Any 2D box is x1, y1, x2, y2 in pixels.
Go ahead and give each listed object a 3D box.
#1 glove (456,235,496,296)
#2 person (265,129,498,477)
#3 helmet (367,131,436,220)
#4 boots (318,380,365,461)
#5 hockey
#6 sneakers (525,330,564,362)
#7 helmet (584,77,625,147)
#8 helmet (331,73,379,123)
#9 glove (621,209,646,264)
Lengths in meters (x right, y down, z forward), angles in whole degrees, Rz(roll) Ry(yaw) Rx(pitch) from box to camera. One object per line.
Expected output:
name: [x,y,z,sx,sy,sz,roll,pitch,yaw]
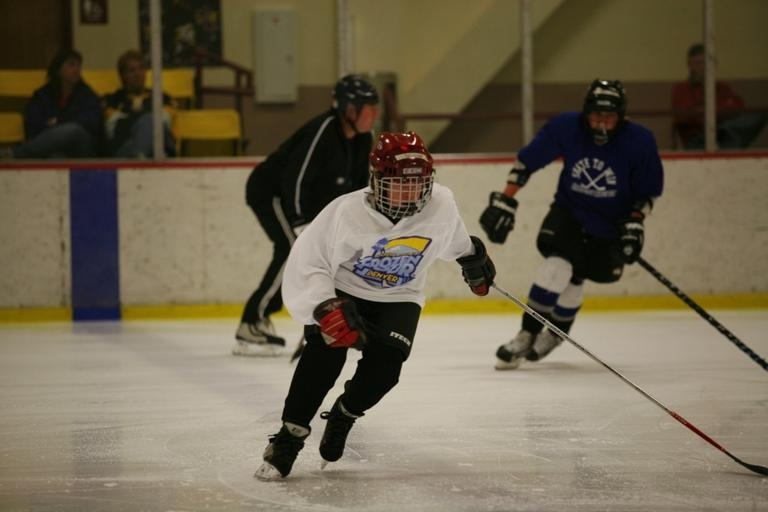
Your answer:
glove: [0.523,0.070,5.436,0.212,0.329,0.135,-31,31,-7]
person: [-0.114,0.237,5.053,1.148,1.713,0.431,-3,13,-12]
helmet: [0.044,-0.414,5.091,0.343,0.403,0.428,-3,37,-7]
boots: [-0.248,0.878,5.097,0.185,0.446,0.200,22,-17,-15]
hockey: [1.542,0.795,6.165,1.636,0.322,0.090,31,66,31]
sneakers: [1.078,0.607,6.642,0.085,0.254,0.179,50,3,38]
helmet: [1.413,-0.937,6.257,0.273,0.392,0.397,6,37,12]
helmet: [-0.212,-1.088,6.560,0.297,0.245,0.215,-12,16,13]
glove: [1.590,-0.125,6.141,0.082,0.305,0.180,26,-26,-36]
